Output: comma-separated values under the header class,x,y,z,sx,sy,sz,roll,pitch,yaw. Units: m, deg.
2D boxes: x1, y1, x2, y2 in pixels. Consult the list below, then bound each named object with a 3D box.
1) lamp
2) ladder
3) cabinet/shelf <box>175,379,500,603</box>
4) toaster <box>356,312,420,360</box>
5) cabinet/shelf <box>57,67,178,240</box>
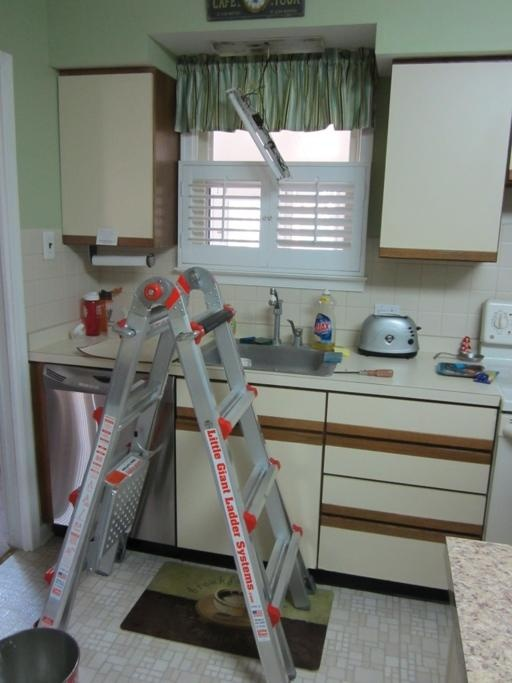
class,x,y,z,sx,sy,sz,roll,pitch,yaw
lamp,0.022,-0.763,2.005,0.109,0.278,0.405,5,14,20
ladder,-0.281,0.273,2.025,1.252,1.506,0.843,2,5,10
cabinet/shelf,0.313,0.485,1.810,0.821,0.519,0.270,2,7,18
toaster,0.547,-0.027,2.210,0.216,0.159,0.166,1,12,11
cabinet/shelf,-0.598,-0.790,2.336,0.524,0.736,0.288,-3,14,-10
